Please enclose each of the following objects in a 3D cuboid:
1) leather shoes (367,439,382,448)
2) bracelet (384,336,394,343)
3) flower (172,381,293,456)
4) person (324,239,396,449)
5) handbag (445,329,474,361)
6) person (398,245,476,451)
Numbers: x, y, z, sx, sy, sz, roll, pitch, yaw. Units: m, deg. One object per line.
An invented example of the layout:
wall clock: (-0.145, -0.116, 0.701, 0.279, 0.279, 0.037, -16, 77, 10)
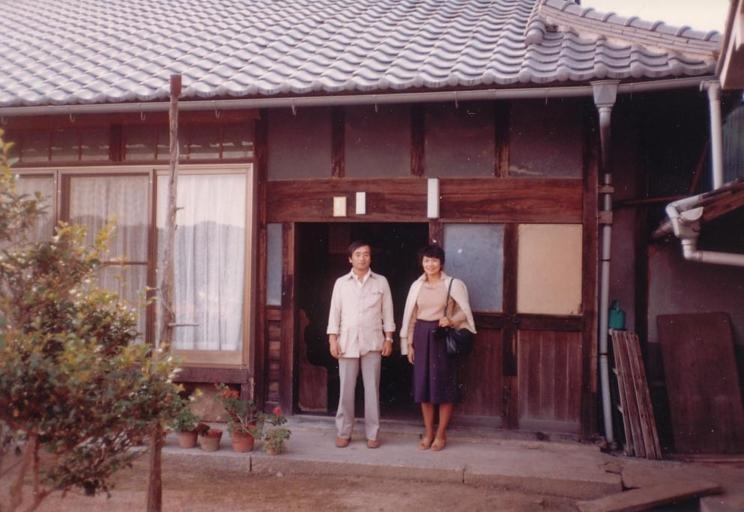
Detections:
leather shoes: (0.059, 2.538, 10.429, 0.147, 0.107, 0.252, -6, -8, 43)
bracelet: (0.231, 1.147, 10.675, 0.113, 0.088, 0.140, 4, -16, 11)
flower: (-1.849, 2.218, 10.713, 1.441, 0.901, 1.383, 0, -6, -5)
person: (-0.144, 1.214, 10.640, 0.921, 2.788, 0.417, 0, -6, -5)
handbag: (1.158, 1.171, 10.269, 0.397, 0.415, 0.176, 1, -9, -19)
person: (0.915, 1.205, 10.533, 0.996, 2.805, 0.631, -1, -6, 6)
